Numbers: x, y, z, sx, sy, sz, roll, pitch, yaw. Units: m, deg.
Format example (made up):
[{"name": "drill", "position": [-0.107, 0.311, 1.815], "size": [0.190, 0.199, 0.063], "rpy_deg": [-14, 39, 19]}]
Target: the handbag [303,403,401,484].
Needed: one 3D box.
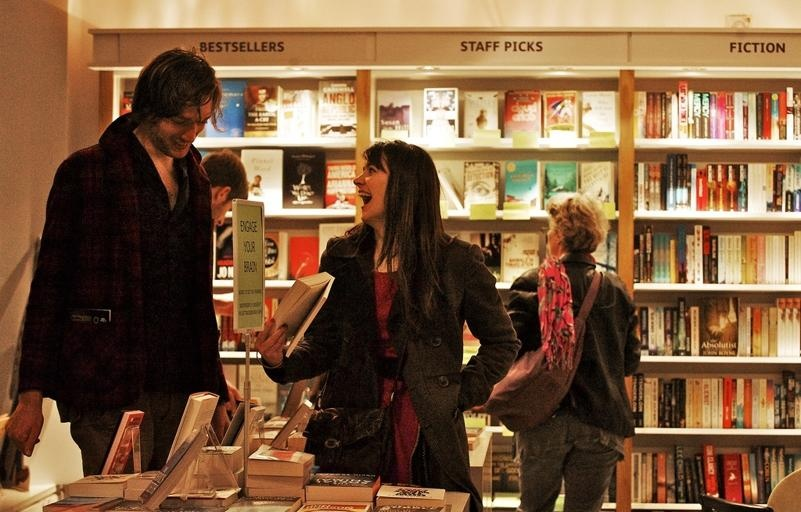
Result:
[{"name": "handbag", "position": [-0.284, 1.000, 4.972], "size": [0.473, 0.387, 0.190], "rpy_deg": [0, -2, 19]}]
